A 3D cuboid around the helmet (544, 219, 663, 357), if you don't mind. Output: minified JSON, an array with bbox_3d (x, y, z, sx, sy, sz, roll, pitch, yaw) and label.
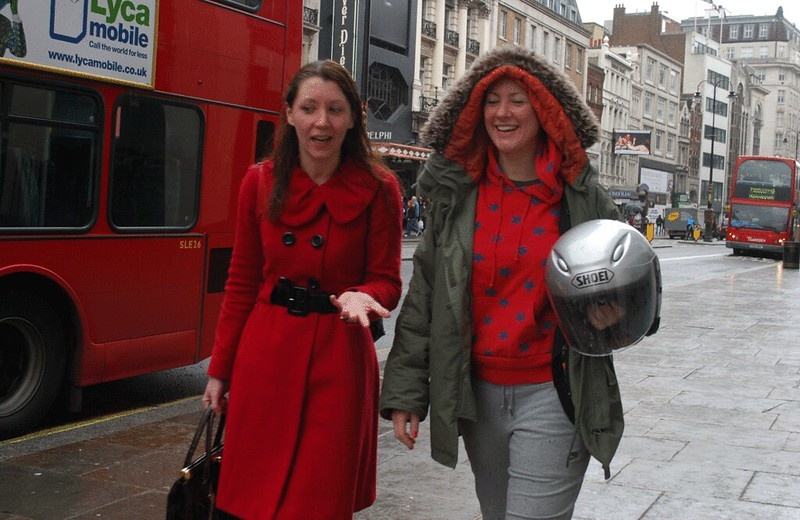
[{"bbox_3d":[0.856,0.097,2.647,0.387,0.451,0.521,-10,2,26],"label":"helmet"}]

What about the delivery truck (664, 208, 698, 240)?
[{"bbox_3d":[27.293,-3.516,65.006,2.662,2.844,4.724,1,3,26],"label":"delivery truck"}]
